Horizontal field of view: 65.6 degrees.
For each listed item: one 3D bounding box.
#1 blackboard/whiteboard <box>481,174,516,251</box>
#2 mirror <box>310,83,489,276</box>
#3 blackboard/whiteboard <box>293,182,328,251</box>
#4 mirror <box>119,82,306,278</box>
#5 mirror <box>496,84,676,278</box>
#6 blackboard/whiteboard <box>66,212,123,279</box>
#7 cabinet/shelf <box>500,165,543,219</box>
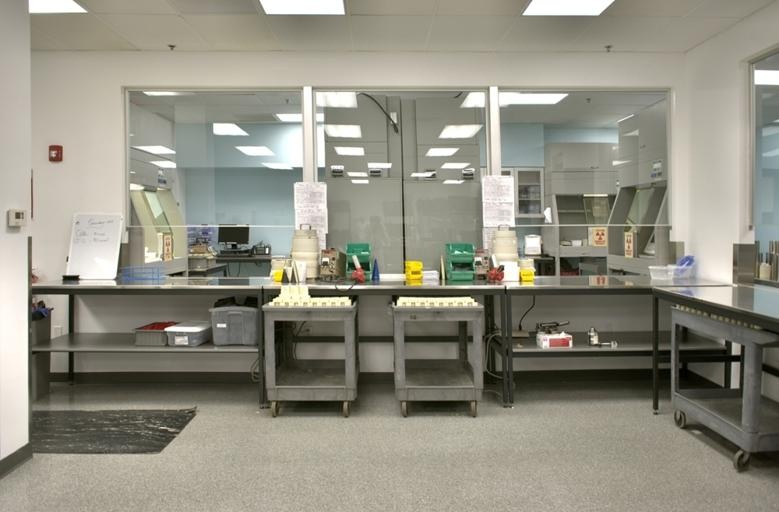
[{"bbox_3d":[1.107,-0.467,6.198,0.332,0.731,0.088,-2,1,-11],"label":"blackboard/whiteboard"},{"bbox_3d":[0.061,-0.828,6.158,2.043,2.126,0.117,0,1,-2],"label":"mirror"},{"bbox_3d":[-0.813,-0.450,6.185,0.343,0.616,0.012,-3,22,-17],"label":"blackboard/whiteboard"},{"bbox_3d":[-1.749,-0.766,6.163,2.076,2.013,0.041,0,3,2],"label":"mirror"},{"bbox_3d":[2.107,-0.452,6.121,1.566,1.542,0.831,4,4,24],"label":"mirror"},{"bbox_3d":[-2.952,-0.101,6.088,0.695,0.911,0.065,0,-12,-4],"label":"blackboard/whiteboard"},{"bbox_3d":[1.401,-0.717,6.319,0.474,0.541,0.173,2,26,33],"label":"cabinet/shelf"}]
